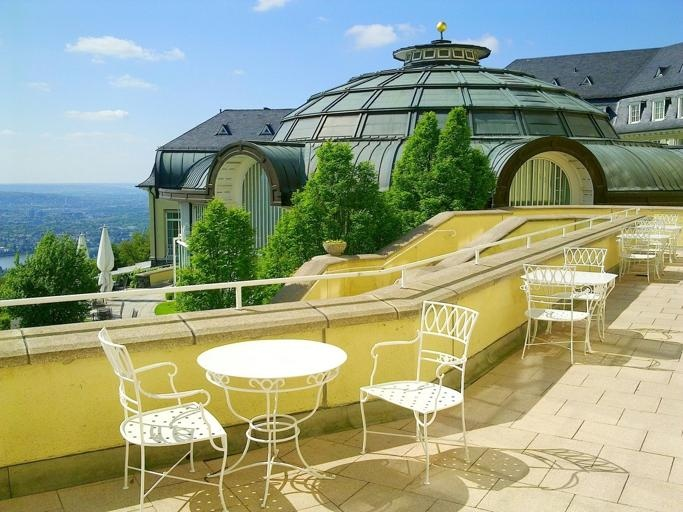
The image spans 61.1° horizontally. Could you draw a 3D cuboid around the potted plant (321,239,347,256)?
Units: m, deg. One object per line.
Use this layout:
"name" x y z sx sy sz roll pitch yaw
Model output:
"potted plant" -0.200 -0.220 15.315 0.552 0.278 0.502 -1 0 -34
